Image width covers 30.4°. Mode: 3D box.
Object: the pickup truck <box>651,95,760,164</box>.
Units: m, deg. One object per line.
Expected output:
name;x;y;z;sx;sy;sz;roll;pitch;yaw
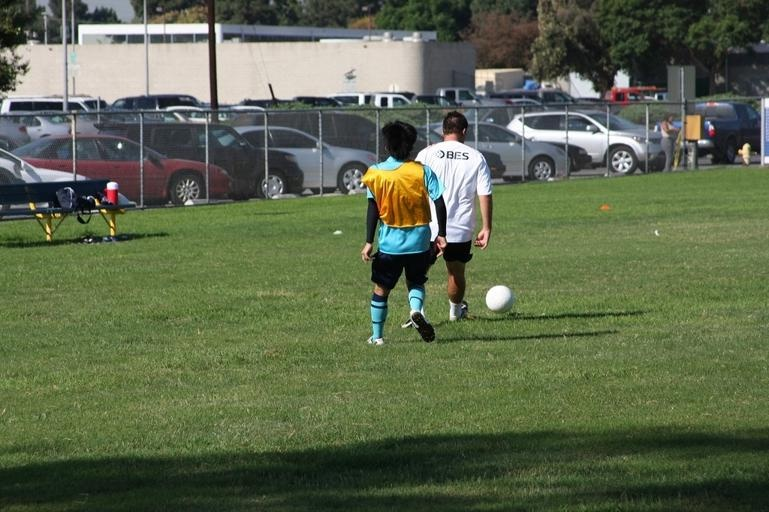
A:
pickup truck;12.525;-4.688;52.263;2.101;1.732;4.085;5;17;37

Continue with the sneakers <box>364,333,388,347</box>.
sneakers;-0.146;1.623;26.969;0.142;0.180;0.349;-3;6;-39

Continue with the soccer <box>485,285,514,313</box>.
soccer;2.282;0.791;28.020;0.467;0.525;0.513;9;-32;25

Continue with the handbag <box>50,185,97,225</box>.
handbag;-7.583;-1.206;34.734;0.865;1.067;0.755;-8;22;-12
